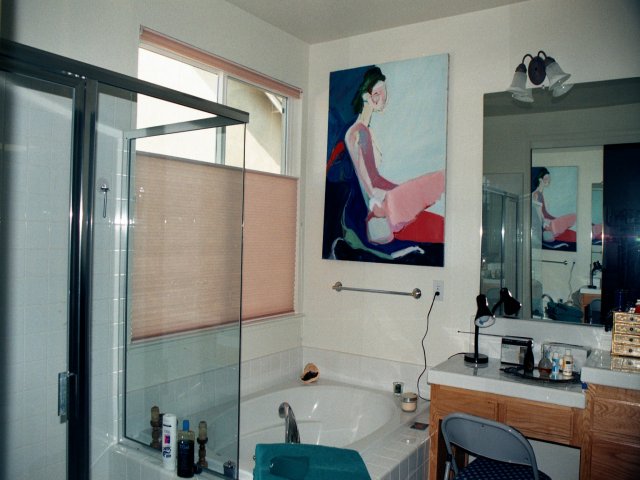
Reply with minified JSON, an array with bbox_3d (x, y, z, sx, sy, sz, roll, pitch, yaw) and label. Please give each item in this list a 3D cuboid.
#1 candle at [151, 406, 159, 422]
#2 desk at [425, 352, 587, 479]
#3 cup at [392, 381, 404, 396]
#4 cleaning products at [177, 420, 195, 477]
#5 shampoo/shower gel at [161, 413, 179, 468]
[{"bbox_3d":[-0.874,0.927,2.649,0.048,0.089,0.029,-1,0,-7],"label":"candle"},{"bbox_3d":[1.222,0.909,3.247,0.934,1.033,0.670,3,8,30],"label":"desk"},{"bbox_3d":[0.598,1.130,3.803,0.072,0.086,0.074,1,1,0],"label":"cup"},{"bbox_3d":[-0.705,1.091,2.618,0.095,0.304,0.053,-1,0,3],"label":"cleaning products"},{"bbox_3d":[-0.793,1.069,2.646,0.098,0.310,0.035,-1,0,15],"label":"shampoo/shower gel"}]
